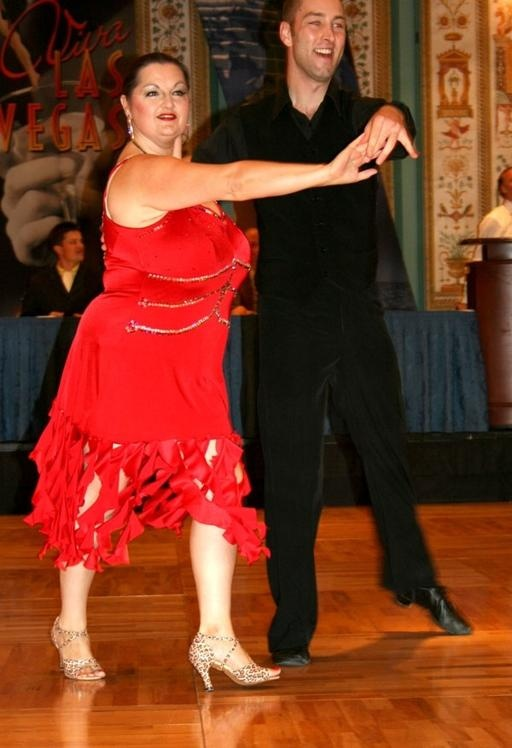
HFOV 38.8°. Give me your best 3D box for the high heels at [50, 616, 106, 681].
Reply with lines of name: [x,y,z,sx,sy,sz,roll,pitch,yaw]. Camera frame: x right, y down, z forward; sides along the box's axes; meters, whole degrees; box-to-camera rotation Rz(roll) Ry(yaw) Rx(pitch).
high heels: [-0.372,0.559,1.510,0.064,0.058,0.161,-2,16,-28]

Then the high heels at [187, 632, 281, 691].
high heels: [-0.036,0.544,1.369,0.176,0.090,0.051,2,-17,-2]

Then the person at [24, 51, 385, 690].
person: [-0.116,0.105,1.384,0.469,0.996,0.713,2,-5,-28]
